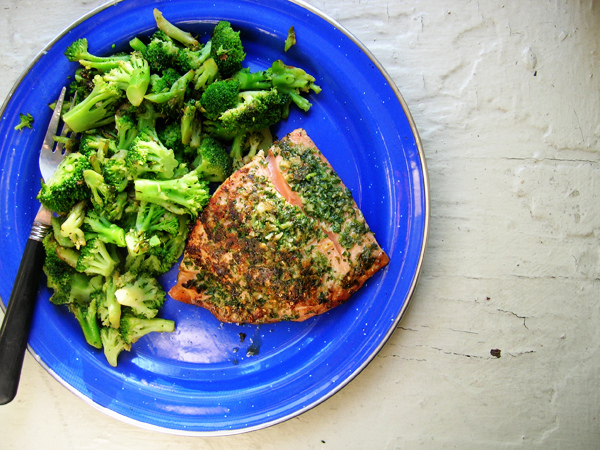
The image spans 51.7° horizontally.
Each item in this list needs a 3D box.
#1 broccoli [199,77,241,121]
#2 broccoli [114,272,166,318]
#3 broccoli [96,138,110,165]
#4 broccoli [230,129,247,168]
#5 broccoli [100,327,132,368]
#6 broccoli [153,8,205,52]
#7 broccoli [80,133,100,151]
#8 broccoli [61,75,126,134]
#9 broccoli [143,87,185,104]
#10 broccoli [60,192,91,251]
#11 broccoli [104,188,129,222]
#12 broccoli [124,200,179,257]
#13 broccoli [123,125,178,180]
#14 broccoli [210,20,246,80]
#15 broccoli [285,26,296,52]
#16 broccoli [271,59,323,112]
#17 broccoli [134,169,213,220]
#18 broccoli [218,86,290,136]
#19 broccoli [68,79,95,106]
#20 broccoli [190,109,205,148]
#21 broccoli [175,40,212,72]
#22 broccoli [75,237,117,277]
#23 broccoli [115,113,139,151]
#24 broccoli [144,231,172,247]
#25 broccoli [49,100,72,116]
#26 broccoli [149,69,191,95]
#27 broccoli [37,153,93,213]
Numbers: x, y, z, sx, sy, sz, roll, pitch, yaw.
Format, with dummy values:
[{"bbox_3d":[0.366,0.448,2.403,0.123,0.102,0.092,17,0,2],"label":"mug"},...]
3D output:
[{"bbox_3d":[-0.600,-0.920,4.617,0.233,0.102,0.294,43,92,4],"label":"broccoli"},{"bbox_3d":[-1.228,0.580,4.815,0.357,0.435,0.119,6,72,34],"label":"broccoli"},{"bbox_3d":[-1.450,-0.544,4.564,0.103,0.050,0.183,-11,83,-26],"label":"broccoli"},{"bbox_3d":[-0.470,-0.594,4.806,0.075,0.101,0.400,14,96,-3],"label":"broccoli"},{"bbox_3d":[-1.438,0.925,4.769,0.246,0.084,0.291,5,89,-15],"label":"broccoli"},{"bbox_3d":[-0.914,-1.464,4.678,0.430,0.180,0.178,33,77,6],"label":"broccoli"},{"bbox_3d":[-1.582,-0.603,4.657,0.108,0.036,0.121,-16,62,-6],"label":"broccoli"},{"bbox_3d":[-1.563,-0.873,4.631,0.448,0.288,0.211,-38,113,-11],"label":"broccoli"},{"bbox_3d":[-1.010,-0.941,4.604,0.317,0.085,0.112,-17,116,-20],"label":"broccoli"},{"bbox_3d":[-1.656,-0.009,4.529,0.168,0.134,0.453,3,58,-15],"label":"broccoli"},{"bbox_3d":[-1.364,-0.131,4.593,0.137,0.099,0.240,32,90,-18],"label":"broccoli"},{"bbox_3d":[-1.121,0.015,4.653,0.310,0.158,0.421,39,74,-13],"label":"broccoli"},{"bbox_3d":[-1.081,-0.515,4.517,0.332,0.150,0.366,-31,86,4],"label":"broccoli"},{"bbox_3d":[-0.562,-1.327,4.664,0.252,0.187,0.384,-20,78,-6],"label":"broccoli"},{"bbox_3d":[-0.073,-1.413,4.670,0.069,0.031,0.144,2,95,10],"label":"broccoli"},{"bbox_3d":[-0.025,-1.068,4.793,0.410,0.163,0.286,32,92,-6],"label":"broccoli"},{"bbox_3d":[-0.942,-0.227,4.541,0.444,0.277,0.308,3,44,-11],"label":"broccoli"},{"bbox_3d":[-0.322,-0.845,4.702,0.337,0.142,0.398,28,89,1],"label":"broccoli"},{"bbox_3d":[-1.642,-1.015,4.731,0.168,0.072,0.198,-5,82,-2],"label":"broccoli"},{"bbox_3d":[-0.795,-0.723,4.681,0.108,0.057,0.246,1,84,-3],"label":"broccoli"},{"bbox_3d":[-0.812,-1.252,4.725,0.288,0.140,0.182,-45,93,-6],"label":"broccoli"},{"bbox_3d":[-1.522,0.257,4.660,0.258,0.127,0.262,27,84,-7],"label":"broccoli"},{"bbox_3d":[-1.295,-0.678,4.635,0.170,0.116,0.250,48,123,28],"label":"broccoli"},{"bbox_3d":[-1.067,0.104,4.613,0.137,0.032,0.112,10,76,-46],"label":"broccoli"},{"bbox_3d":[-1.807,-0.880,4.683,0.121,0.033,0.140,10,68,-11],"label":"broccoli"},{"bbox_3d":[-1.008,-1.060,4.592,0.182,0.065,0.186,34,76,0],"label":"broccoli"},{"bbox_3d":[-1.707,-0.287,4.644,0.417,0.187,0.329,-42,92,-7],"label":"broccoli"}]
